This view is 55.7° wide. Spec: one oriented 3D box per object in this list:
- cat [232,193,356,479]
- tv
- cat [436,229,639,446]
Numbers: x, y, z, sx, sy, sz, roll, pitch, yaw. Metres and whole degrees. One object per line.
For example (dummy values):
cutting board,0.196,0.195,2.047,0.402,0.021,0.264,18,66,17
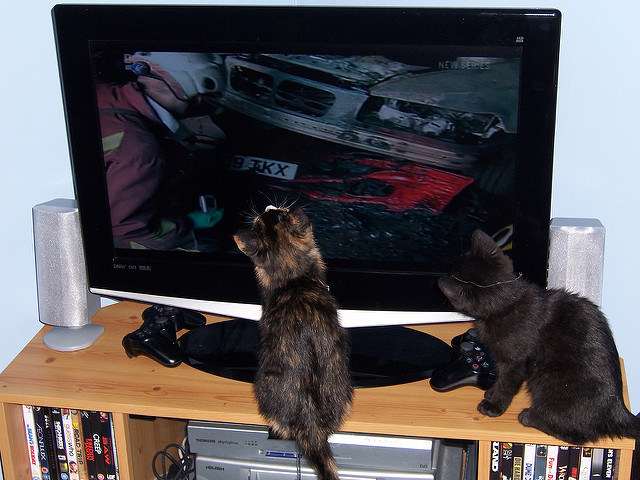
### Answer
cat,-0.055,0.232,1.559,0.285,0.671,0.352,-13,-1,2
tv,-0.013,-0.132,1.586,1.566,0.774,0.422,2,27,6
cat,0.552,0.228,1.493,0.478,0.503,0.195,4,13,18
